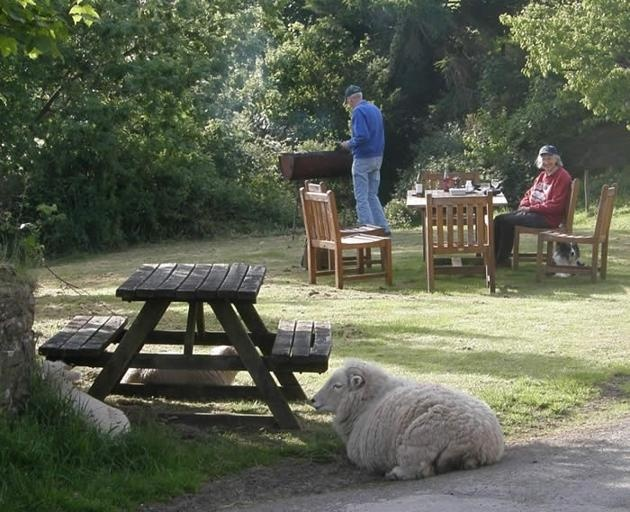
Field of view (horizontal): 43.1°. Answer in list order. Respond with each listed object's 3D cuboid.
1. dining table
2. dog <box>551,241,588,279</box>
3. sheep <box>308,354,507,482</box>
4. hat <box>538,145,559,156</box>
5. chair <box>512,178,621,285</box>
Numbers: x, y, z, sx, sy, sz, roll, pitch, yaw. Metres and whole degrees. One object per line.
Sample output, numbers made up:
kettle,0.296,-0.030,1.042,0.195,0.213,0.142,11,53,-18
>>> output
dining table,2.017,-0.698,12.469,1.435,0.990,1.551,0,2,3
dog,3.785,0.053,11.945,0.392,0.487,0.615,1,-2,-14
sheep,0.631,1.087,5.588,1.059,0.574,0.640,-2,4,44
hat,3.509,-1.569,12.025,0.227,0.149,0.266,-1,1,9
chair,3.621,-0.348,11.980,1.640,2.067,1.252,4,5,24
